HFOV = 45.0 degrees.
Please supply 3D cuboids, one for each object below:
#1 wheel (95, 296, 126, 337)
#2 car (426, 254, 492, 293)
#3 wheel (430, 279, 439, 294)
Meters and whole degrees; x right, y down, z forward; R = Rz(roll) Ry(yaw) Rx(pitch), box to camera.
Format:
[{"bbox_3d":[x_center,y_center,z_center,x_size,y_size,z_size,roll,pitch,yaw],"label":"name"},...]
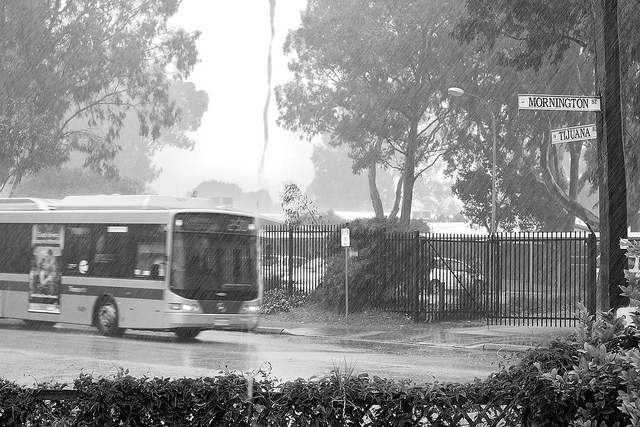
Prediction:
[{"bbox_3d":[-6.053,2.967,22.431,0.388,1.185,1.054,6,-4,-37],"label":"wheel"},{"bbox_3d":[4.938,2.021,27.432,2.136,1.173,1.107,-8,-5,43],"label":"car"},{"bbox_3d":[3.866,2.505,26.373,0.088,0.414,0.371,6,-3,-38],"label":"wheel"}]
